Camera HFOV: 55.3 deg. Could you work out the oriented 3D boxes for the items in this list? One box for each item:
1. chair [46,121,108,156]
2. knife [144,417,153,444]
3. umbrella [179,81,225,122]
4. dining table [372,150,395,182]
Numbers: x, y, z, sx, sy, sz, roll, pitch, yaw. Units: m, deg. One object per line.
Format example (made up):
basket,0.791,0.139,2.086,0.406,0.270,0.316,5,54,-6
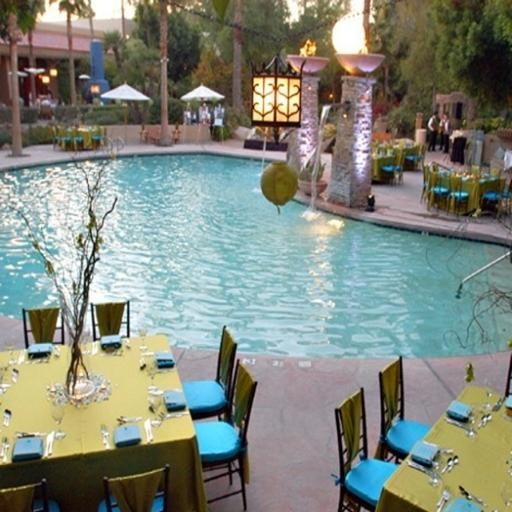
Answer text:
chair,-7.402,-4.895,20.337,1.987,0.990,1.123,-1,14,-9
knife,-0.647,1.040,2.937,0.033,0.018,0.192,3,21,-10
umbrella,-2.605,-7.149,24.340,1.841,2.141,2.171,5,26,8
dining table,3.901,-2.671,15.051,0.686,0.685,0.705,0,24,2
